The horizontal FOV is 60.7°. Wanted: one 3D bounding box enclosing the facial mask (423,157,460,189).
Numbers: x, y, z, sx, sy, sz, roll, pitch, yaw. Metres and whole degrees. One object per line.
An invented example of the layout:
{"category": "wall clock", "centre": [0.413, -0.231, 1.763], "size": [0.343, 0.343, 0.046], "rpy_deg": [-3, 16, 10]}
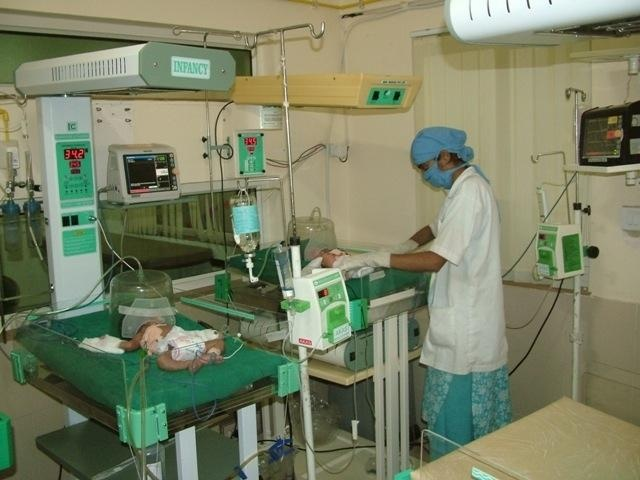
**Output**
{"category": "facial mask", "centre": [0.619, -0.335, 2.765], "size": [0.140, 0.091, 0.109], "rpy_deg": [-19, 1, 18]}

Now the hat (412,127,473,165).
{"category": "hat", "centre": [0.604, -0.478, 2.717], "size": [0.253, 0.159, 0.171], "rpy_deg": [-5, 12, -6]}

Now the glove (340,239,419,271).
{"category": "glove", "centre": [0.250, 0.090, 2.583], "size": [0.271, 0.071, 0.167], "rpy_deg": [-8, 7, -15]}
